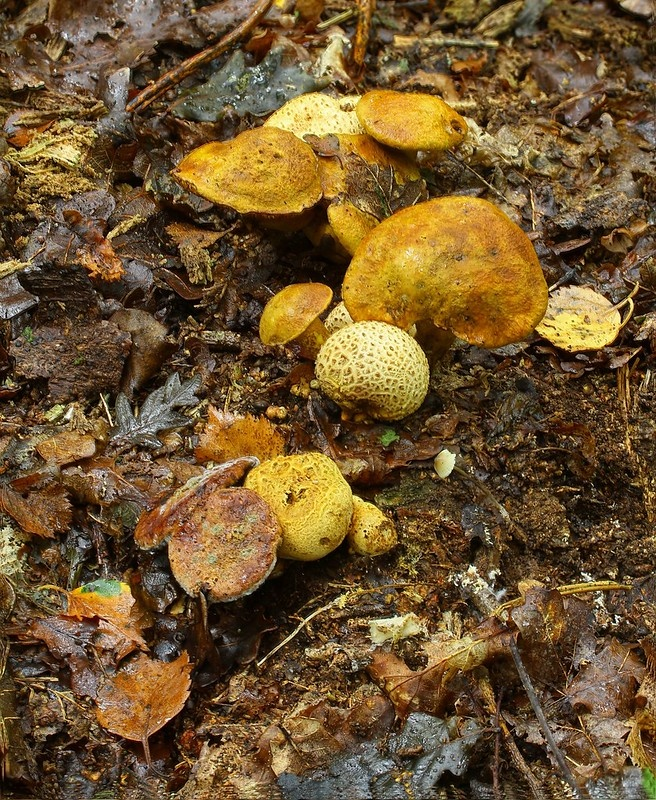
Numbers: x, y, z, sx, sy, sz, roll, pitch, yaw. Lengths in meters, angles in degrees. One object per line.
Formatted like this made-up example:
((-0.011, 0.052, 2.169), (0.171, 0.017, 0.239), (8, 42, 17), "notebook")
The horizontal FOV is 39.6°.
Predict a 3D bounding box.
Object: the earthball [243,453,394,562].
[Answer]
((-0.081, 0.486, 4.231), (0.821, 0.231, 0.482), (11, 53, -11), "earthball")

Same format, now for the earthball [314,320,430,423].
((0.218, -0.164, 4.499), (0.473, 0.415, 0.600), (-2, 8, 35), "earthball")

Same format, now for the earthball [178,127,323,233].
((-0.363, -1.164, 4.513), (0.791, 0.237, 0.450), (5, 59, 2), "earthball")

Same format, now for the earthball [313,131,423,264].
((0.192, -1.067, 4.655), (0.658, 0.208, 0.589), (1, 83, -26), "earthball")
